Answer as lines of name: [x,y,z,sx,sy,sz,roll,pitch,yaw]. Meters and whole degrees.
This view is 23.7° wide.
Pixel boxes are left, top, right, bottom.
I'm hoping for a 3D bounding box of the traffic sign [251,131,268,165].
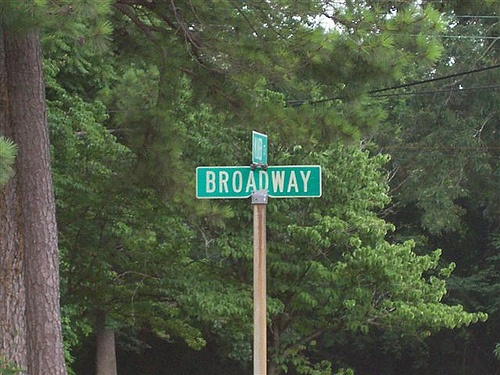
traffic sign: [0.190,-0.821,25.217,0.394,0.690,0.158,6,-3,-25]
